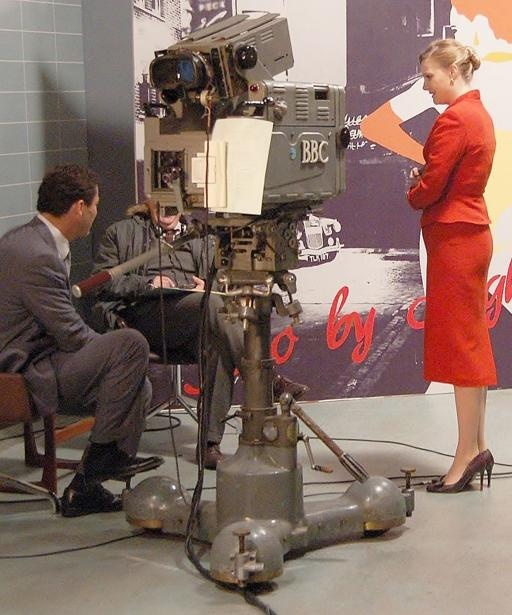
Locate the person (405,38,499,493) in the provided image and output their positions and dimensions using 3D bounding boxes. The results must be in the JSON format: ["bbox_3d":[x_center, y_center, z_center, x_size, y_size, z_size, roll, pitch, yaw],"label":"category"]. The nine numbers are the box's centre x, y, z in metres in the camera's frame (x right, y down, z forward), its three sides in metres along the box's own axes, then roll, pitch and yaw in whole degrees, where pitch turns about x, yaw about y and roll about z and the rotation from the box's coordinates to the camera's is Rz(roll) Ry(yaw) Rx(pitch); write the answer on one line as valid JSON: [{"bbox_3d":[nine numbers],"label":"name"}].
[{"bbox_3d":[0.725,-0.149,2.459,0.315,1.637,0.277,-1,2,2],"label":"person"}]
